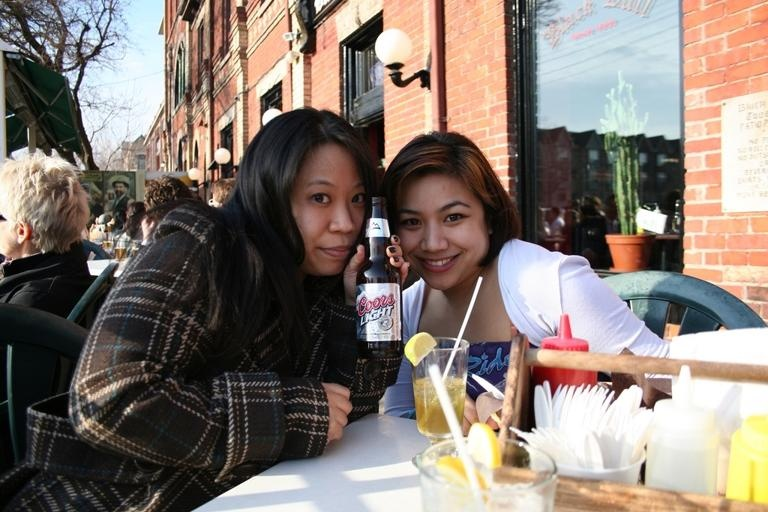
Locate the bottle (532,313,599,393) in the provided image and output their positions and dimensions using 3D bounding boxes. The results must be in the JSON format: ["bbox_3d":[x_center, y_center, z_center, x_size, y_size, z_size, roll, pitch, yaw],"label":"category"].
[{"bbox_3d":[0.492,0.258,1.685,0.207,0.301,0.221,1,-2,0],"label":"bottle"}]

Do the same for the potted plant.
[{"bbox_3d":[1.724,-0.617,4.139,0.245,1.574,0.219,5,-20,-7],"label":"potted plant"}]

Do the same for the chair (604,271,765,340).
[{"bbox_3d":[1.258,0.210,2.453,0.138,0.279,0.649,-5,3,-40],"label":"chair"}]

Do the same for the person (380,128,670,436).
[{"bbox_3d":[0.513,0.043,2.462,0.800,1.602,0.734,-2,4,-32],"label":"person"}]

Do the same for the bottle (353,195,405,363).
[{"bbox_3d":[-0.019,0.116,2.018,0.106,0.659,0.136,-2,2,-32],"label":"bottle"}]
